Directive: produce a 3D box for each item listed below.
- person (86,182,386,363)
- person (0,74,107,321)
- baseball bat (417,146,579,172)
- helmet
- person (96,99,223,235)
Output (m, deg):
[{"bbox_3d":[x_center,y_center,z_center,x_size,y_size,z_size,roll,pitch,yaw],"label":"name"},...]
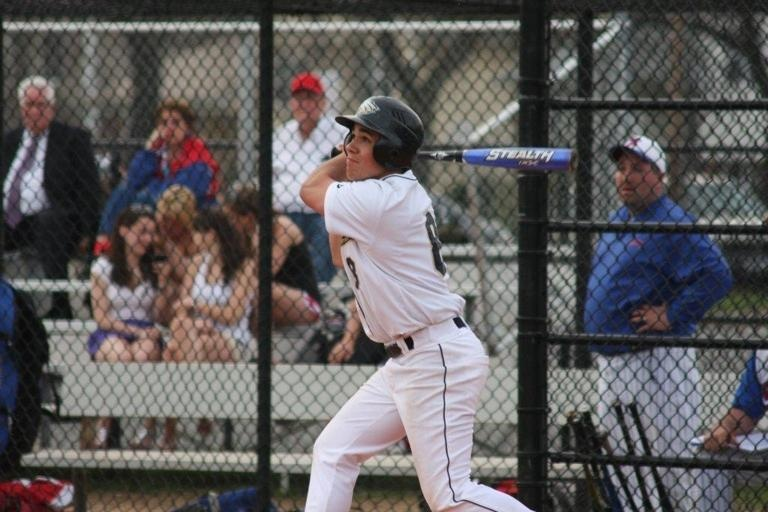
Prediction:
[{"bbox_3d":[-1.086,0.150,10.989,1.606,1.358,1.093,-1,-1,-19],"label":"person"},{"bbox_3d":[-2.202,-0.528,10.459,0.682,1.360,0.255,1,2,-2],"label":"person"},{"bbox_3d":[0.720,-0.611,9.623,1.013,0.152,0.156,2,-33,6],"label":"baseball bat"},{"bbox_3d":[-0.001,-0.733,9.165,0.471,0.392,0.371,15,-1,-11],"label":"helmet"},{"bbox_3d":[-1.371,-0.626,10.572,1.020,1.047,0.612,2,4,15],"label":"person"}]
